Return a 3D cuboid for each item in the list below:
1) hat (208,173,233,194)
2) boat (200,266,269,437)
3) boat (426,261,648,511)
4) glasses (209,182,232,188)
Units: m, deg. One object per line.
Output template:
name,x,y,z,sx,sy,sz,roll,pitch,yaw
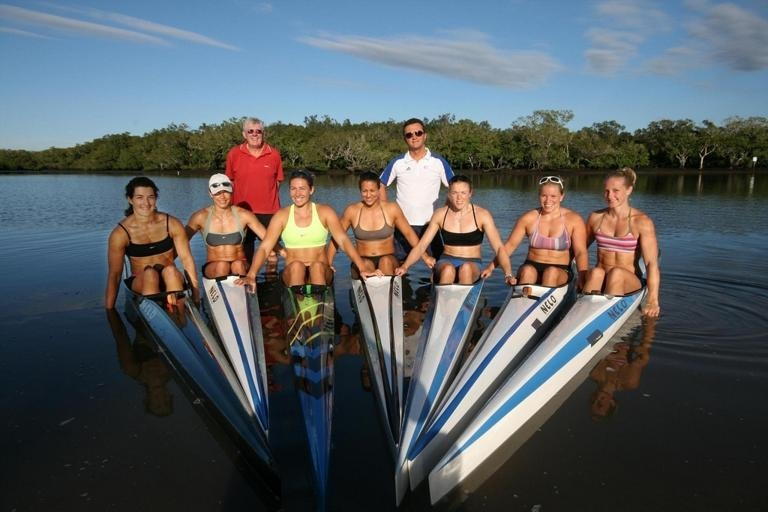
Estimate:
hat,-2.613,-1.168,8.883,0.241,0.249,0.397,-4,10,-20
boat,-1.947,1.116,7.426,0.671,0.535,2.620,0,40,-25
boat,1.816,1.571,6.515,0.560,0.555,3.346,43,51,10
glasses,-2.567,-1.122,8.741,0.328,0.083,0.124,-5,13,-17
